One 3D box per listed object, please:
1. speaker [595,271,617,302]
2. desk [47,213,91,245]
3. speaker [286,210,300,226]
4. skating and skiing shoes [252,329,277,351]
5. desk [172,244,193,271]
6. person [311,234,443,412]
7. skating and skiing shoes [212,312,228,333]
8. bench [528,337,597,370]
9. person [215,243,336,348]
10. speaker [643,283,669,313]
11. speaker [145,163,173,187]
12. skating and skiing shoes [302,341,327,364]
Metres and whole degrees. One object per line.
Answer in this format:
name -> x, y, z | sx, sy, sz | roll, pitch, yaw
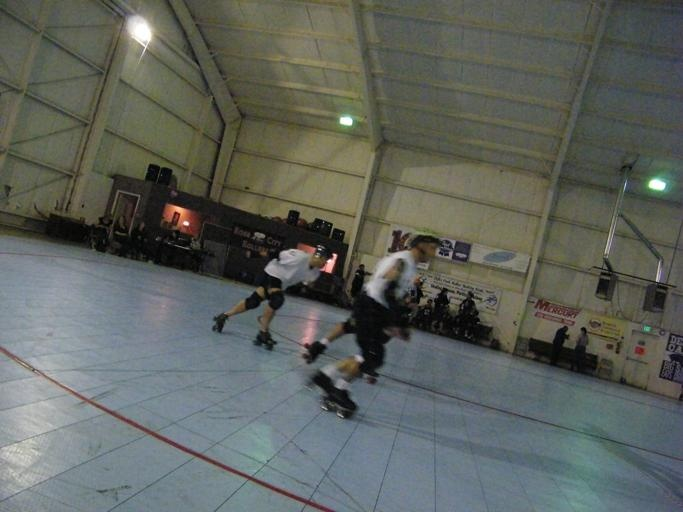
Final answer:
speaker -> 8.132, 0.882, 13.606 | 0.422, 0.945, 0.632 | 13, 1, 36
desk -> -9.002, -0.885, 14.499 | 1.419, 0.838, 0.385 | 13, 1, 9
speaker -> -2.093, -1.624, 19.132 | 0.555, 0.640, 0.642 | 12, 1, -25
skating and skiing shoes -> -1.071, 1.169, 6.200 | 0.379, 0.180, 0.175 | -2, -6, 43
desk -> -5.269, 0.060, 15.487 | 0.836, 0.843, 1.496 | 0, 3, -4
person -> 0.348, 0.653, 4.576 | 0.887, 1.896, 0.603 | 13, 1, 17
skating and skiing shoes -> -1.747, 0.949, 6.347 | 0.178, 0.266, 0.208 | 12, 1, -13
bench -> 8.605, 3.974, 18.097 | 2.846, 0.875, 0.966 | 11, 3, 15
person -> -1.030, 0.496, 6.497 | 1.273, 1.707, 0.728 | 15, -24, 22
speaker -> 9.961, 1.302, 14.043 | 0.491, 1.012, 0.897 | 13, 1, 33
speaker -> -6.445, -2.830, 15.649 | 0.812, 0.686, 0.732 | 12, 1, -28
skating and skiing shoes -> -0.344, 1.165, 5.401 | 0.176, 0.225, 0.497 | 24, -14, -8
